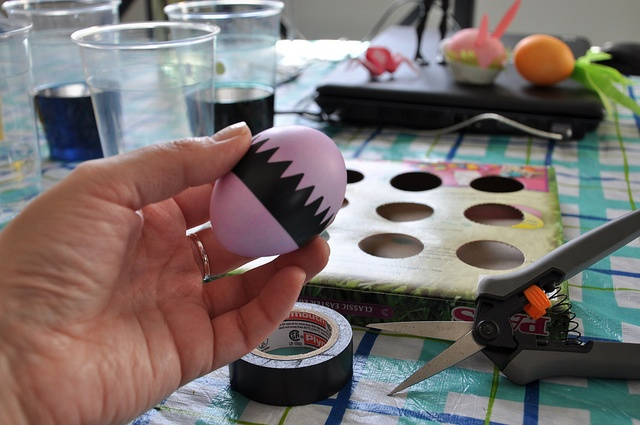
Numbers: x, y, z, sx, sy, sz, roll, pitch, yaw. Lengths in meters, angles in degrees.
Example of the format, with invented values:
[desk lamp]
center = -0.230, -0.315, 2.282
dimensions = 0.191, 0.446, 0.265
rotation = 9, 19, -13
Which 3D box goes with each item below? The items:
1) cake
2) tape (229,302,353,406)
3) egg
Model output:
[cake]
center = 0.313, -0.308, 1.072
dimensions = 0.065, 0.122, 0.103
rotation = -8, 27, -14
[tape]
center = -0.028, 0.144, 0.607
dimensions = 0.115, 0.101, 0.123
rotation = -12, 20, -40
[egg]
center = 0.445, -0.302, 1.037
dimensions = 0.092, 0.095, 0.132
rotation = 7, 27, 21
